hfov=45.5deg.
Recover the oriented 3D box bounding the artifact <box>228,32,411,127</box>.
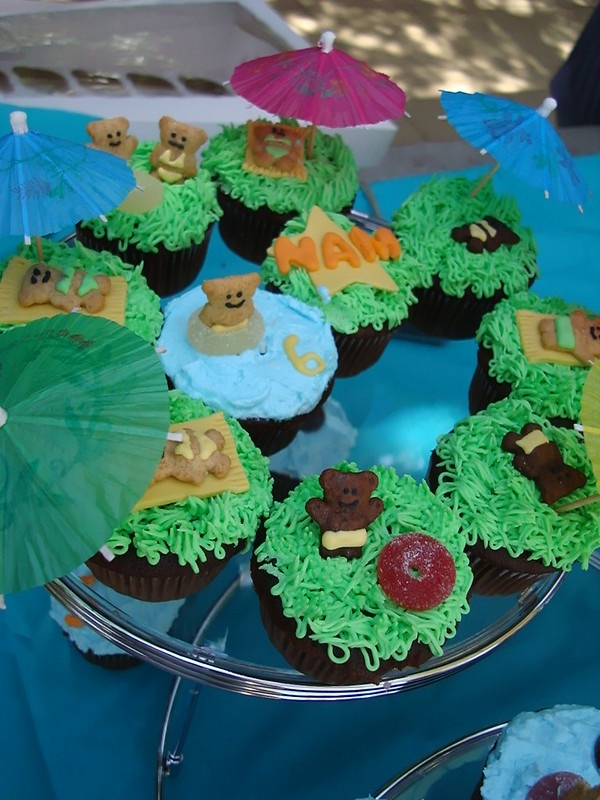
[{"bbox_3d":[0.074,-1.135,2.580,0.522,0.200,0.493,-24,54,-23],"label":"artifact"}]

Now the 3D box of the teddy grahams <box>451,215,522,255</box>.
[{"bbox_3d":[0.717,-0.641,2.786,0.225,0.048,0.150,-21,54,-26],"label":"teddy grahams"}]

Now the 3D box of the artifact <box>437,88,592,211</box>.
[{"bbox_3d":[0.698,-0.866,2.593,0.504,0.253,0.461,26,31,-13],"label":"artifact"}]

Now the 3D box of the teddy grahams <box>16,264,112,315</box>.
[{"bbox_3d":[-0.731,-0.346,2.245,0.243,0.065,0.156,5,50,-23],"label":"teddy grahams"}]
